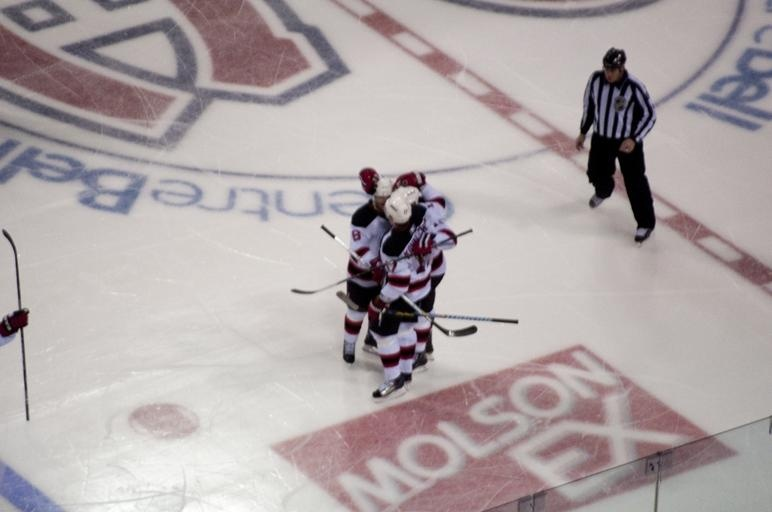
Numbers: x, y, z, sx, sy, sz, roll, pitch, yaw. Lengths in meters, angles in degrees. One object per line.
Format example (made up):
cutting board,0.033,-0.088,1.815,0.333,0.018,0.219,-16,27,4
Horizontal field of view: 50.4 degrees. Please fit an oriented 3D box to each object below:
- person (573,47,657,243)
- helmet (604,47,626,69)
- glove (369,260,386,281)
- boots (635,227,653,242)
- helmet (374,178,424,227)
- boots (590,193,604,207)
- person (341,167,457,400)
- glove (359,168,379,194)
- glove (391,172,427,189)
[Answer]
person,2.052,-0.981,7.308,0.753,1.695,0.443,8,23,24
helmet,1.945,-1.694,7.015,0.166,0.151,0.327,3,19,12
glove,-0.060,0.107,6.018,0.094,0.146,0.053,-2,15,-5
boots,2.302,-0.193,7.372,0.075,0.089,0.226,-27,14,42
helmet,0.078,-0.415,5.770,0.346,0.148,0.324,19,41,-20
boots,1.947,-0.516,7.687,0.066,0.075,0.195,34,55,23
person,0.080,0.194,6.087,0.870,1.653,0.516,-2,20,-2
glove,-0.126,-0.536,5.979,0.123,0.207,0.234,-7,20,-14
glove,0.165,-0.556,6.038,0.217,0.087,0.121,-10,44,-39
